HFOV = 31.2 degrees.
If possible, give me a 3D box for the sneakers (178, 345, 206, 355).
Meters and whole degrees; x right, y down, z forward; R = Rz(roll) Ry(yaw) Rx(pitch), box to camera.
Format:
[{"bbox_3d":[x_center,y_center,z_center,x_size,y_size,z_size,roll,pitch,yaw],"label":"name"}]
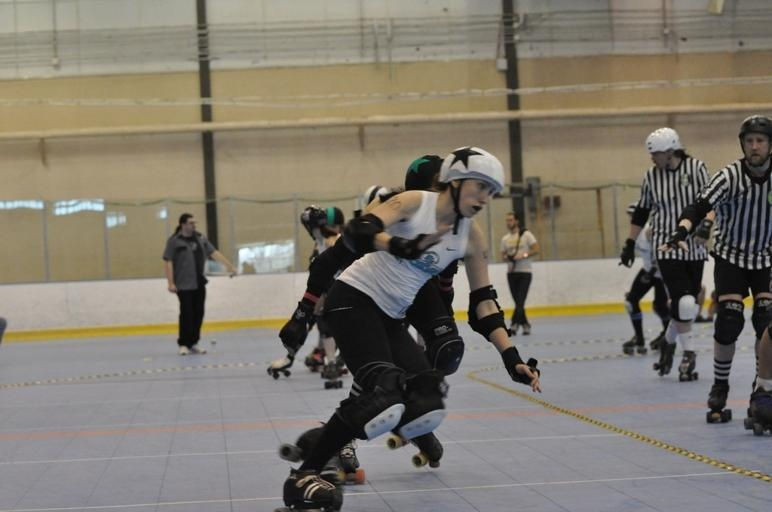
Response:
[{"bbox_3d":[-3.532,1.728,25.226,0.512,0.183,0.177,1,-1,-16],"label":"sneakers"}]
